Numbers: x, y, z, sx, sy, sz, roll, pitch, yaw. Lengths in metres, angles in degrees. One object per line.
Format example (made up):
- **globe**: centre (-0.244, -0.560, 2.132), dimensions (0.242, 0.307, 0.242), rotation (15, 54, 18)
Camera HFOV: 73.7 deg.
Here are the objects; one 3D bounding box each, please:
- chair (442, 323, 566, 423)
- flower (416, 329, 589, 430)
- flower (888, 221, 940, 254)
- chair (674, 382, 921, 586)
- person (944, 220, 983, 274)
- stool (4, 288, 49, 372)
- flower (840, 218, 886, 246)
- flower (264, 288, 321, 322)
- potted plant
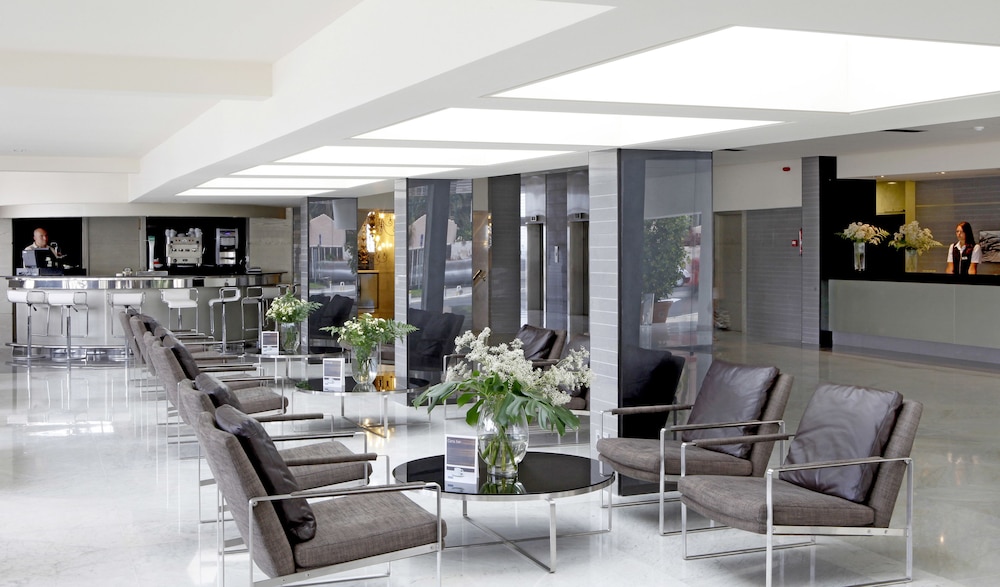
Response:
- **chair**: centre (0.104, 0.695, 6.402), dimensions (1.485, 0.875, 1.358), rotation (9, 2, 7)
- **flower**: centre (0.092, 0.828, 6.265), dimensions (1.746, 0.923, 1.568), rotation (4, -3, -5)
- **flower**: centre (9.552, -1.224, 15.309), dimensions (1.154, 0.756, 1.103), rotation (1, 1, 32)
- **chair**: centre (2.363, 1.372, 5.768), dimensions (1.920, 1.543, 1.661), rotation (1, -5, -16)
- **person**: centre (10.800, -1.090, 15.453), dimensions (0.702, 1.236, 1.811), rotation (1, 6, 35)
- **stool**: centre (-10.127, 0.678, 14.298), dimensions (0.607, 1.571, 1.588), rotation (-7, 7, -36)
- **flower**: centre (8.201, -1.378, 15.062), dimensions (0.815, 0.293, 0.765), rotation (2, -1, 24)
- **flower**: centre (-3.687, 0.264, 11.315), dimensions (0.931, 0.558, 0.921), rotation (0, 0, 15)
- **potted plant**: centre (1.789, -0.268, 6.920), dimensions (0.901, 0.987, 0.475), rotation (-2, -1, 9)
